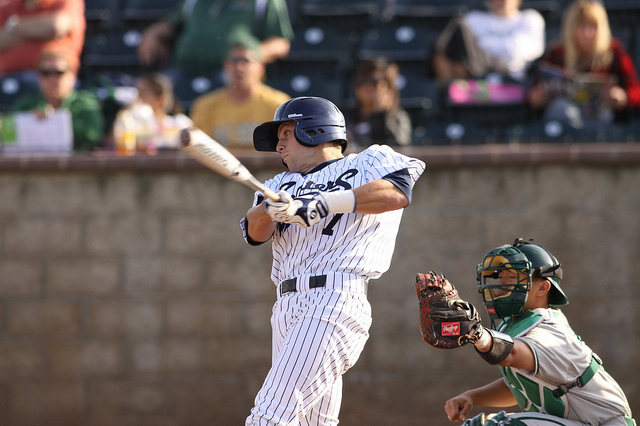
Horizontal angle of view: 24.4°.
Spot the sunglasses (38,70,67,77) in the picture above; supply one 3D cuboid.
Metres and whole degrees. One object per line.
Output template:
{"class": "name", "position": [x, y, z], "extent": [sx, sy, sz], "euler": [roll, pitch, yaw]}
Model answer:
{"class": "sunglasses", "position": [-2.411, -1.267, 13.254], "extent": [0.248, 0.062, 0.055], "euler": [0, 9, -1]}

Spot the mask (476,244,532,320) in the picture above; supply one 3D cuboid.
{"class": "mask", "position": [1.456, 0.531, 11.620], "extent": [0.435, 0.563, 0.258], "euler": [2, 10, 8]}

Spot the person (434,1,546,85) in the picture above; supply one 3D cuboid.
{"class": "person", "position": [1.636, -1.585, 13.970], "extent": [0.896, 0.873, 0.415], "euler": [-1, 45, -7]}
